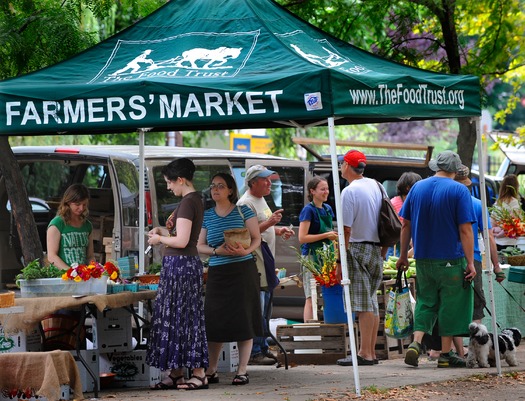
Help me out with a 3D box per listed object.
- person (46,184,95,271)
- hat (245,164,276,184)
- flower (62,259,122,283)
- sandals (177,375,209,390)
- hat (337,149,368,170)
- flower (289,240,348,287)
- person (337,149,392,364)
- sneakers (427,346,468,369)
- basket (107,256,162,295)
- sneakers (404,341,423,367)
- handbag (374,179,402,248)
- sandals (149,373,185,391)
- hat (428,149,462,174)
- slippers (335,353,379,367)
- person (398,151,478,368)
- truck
[{"bbox_3d":[-2.150,0.289,11.433,0.526,0.951,0.541,-1,-4,-17],"label":"person"},{"bbox_3d":[-0.013,-0.298,11.647,0.319,0.158,0.202,-11,8,9],"label":"hat"},{"bbox_3d":[-1.742,0.754,10.676,0.328,0.220,0.737,-4,-4,37],"label":"flower"},{"bbox_3d":[-0.737,1.947,10.825,0.297,0.110,0.139,3,-7,-15],"label":"sandals"},{"bbox_3d":[1.060,-0.495,11.939,0.275,0.147,0.195,17,17,42],"label":"hat"},{"bbox_3d":[0.691,0.759,12.112,0.577,0.572,0.527,-3,-9,1],"label":"flower"},{"bbox_3d":[1.155,0.666,11.846,0.745,2.547,0.401,2,-5,-43],"label":"person"},{"bbox_3d":[2.204,1.849,11.817,0.352,0.152,0.165,-2,0,-27],"label":"sneakers"},{"bbox_3d":[-1.376,0.809,11.028,0.428,0.381,0.394,-1,0,7],"label":"basket"},{"bbox_3d":[1.745,1.760,11.659,0.154,0.150,0.347,15,-36,17],"label":"sneakers"},{"bbox_3d":[1.473,0.178,11.812,0.482,0.874,0.675,0,-4,1],"label":"handbag"},{"bbox_3d":[-1.014,1.964,10.919,0.377,0.140,0.142,3,-7,2],"label":"sandals"},{"bbox_3d":[2.134,-0.462,11.812,0.328,0.162,0.252,12,33,20],"label":"hat"},{"bbox_3d":[1.133,1.908,12.024,0.510,0.180,0.179,2,-5,8],"label":"slippers"},{"bbox_3d":[2.040,0.676,11.737,0.892,2.525,0.458,-2,-4,11],"label":"person"},{"bbox_3d":[-0.259,-0.137,14.518,5.800,2.661,3.216,-1,-1,-23],"label":"truck"}]
